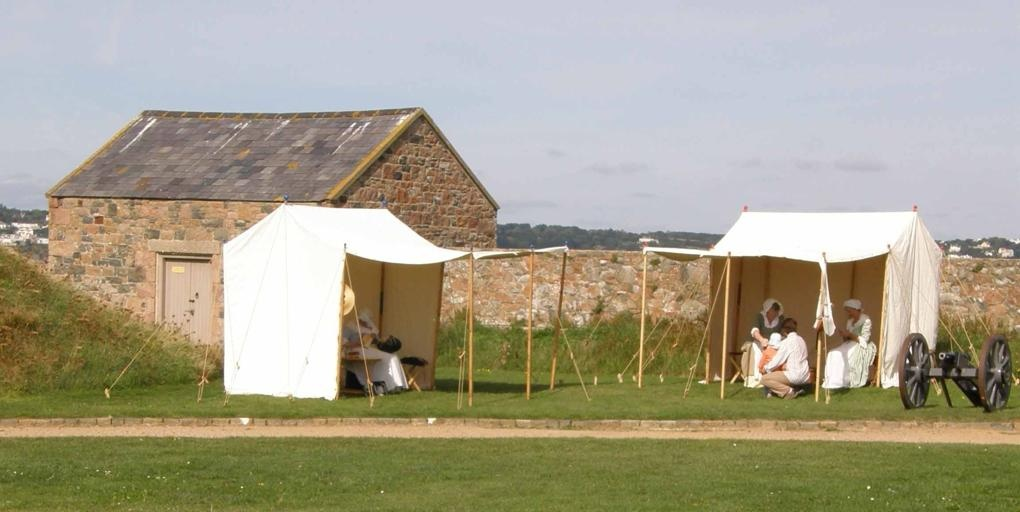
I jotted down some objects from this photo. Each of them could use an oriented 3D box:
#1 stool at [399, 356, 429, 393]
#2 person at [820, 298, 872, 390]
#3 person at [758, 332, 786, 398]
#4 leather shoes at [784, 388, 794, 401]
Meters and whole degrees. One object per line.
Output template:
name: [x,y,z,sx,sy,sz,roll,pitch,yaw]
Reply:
stool: [-2.859,3.299,47.375,1.033,0.866,1.061,6,7,-18]
person: [9.435,2.515,46.997,1.476,2.513,0.761,-4,-13,9]
person: [7.173,2.990,46.803,0.660,1.620,0.494,-6,25,5]
leather shoes: [7.684,3.788,46.241,0.316,0.303,0.138,-2,-13,3]
